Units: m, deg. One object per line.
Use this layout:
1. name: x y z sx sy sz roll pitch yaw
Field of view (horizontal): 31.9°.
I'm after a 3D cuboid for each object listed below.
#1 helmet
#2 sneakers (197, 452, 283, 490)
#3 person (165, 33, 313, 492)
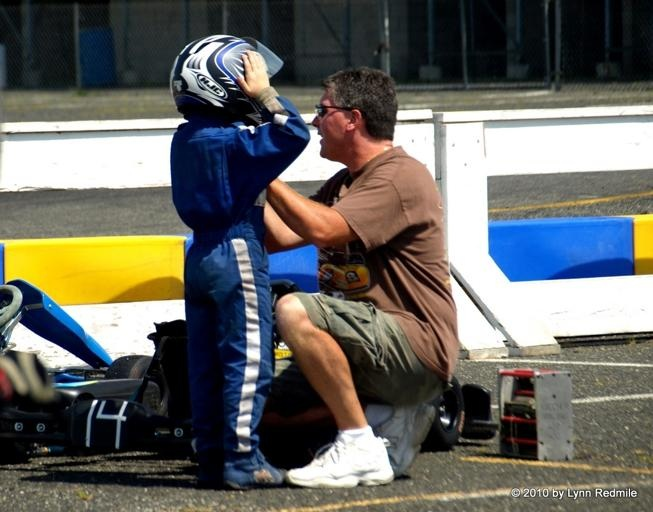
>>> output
1. helmet: -0.510 -0.948 6.066 0.591 0.511 0.450 9 -3 -38
2. sneakers: -0.451 1.071 5.857 0.473 0.239 0.175 2 2 -24
3. person: -0.447 0.018 5.894 0.617 2.231 0.732 -6 14 -25
